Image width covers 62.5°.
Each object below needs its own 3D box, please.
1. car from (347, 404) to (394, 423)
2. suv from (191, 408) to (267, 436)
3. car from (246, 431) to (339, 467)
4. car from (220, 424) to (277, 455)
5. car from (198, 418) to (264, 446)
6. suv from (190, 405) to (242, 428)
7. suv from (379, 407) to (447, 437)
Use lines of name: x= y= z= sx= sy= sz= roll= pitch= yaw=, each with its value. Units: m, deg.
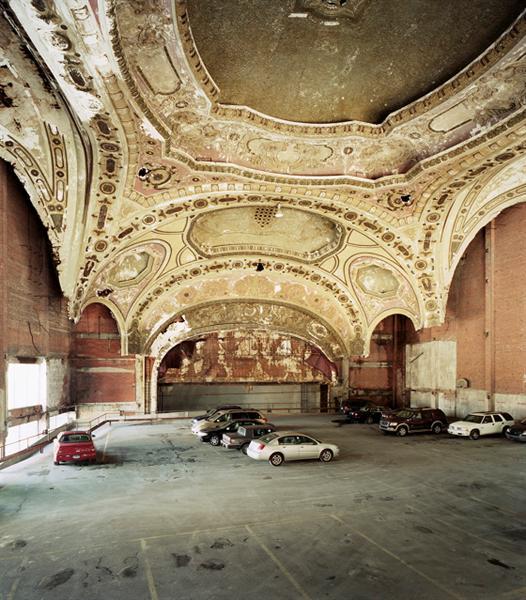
car: x=6.002 y=6.575 z=25.025 sx=2.104 sy=0.558 sz=1.058 roll=4 pitch=-10 yaw=-16
suv: x=-1.143 y=5.125 z=18.408 sx=3.488 sy=0.979 sz=1.524 roll=3 pitch=-5 yaw=-24
car: x=0.934 y=4.739 z=14.015 sx=2.662 sy=0.750 sz=1.108 roll=-1 pitch=-2 yaw=-14
car: x=-0.606 y=5.031 z=15.754 sx=2.109 sy=0.599 sz=0.868 roll=-4 pitch=4 yaw=-23
car: x=-1.202 y=5.249 z=17.266 sx=2.649 sy=0.722 sz=1.021 roll=2 pitch=-6 yaw=-16
suv: x=-2.189 y=5.795 z=20.693 sx=2.790 sy=0.843 sz=1.393 roll=2 pitch=-8 yaw=-21
suv: x=7.076 y=5.804 z=20.705 sx=2.605 sy=0.977 sz=1.465 roll=5 pitch=-11 yaw=-16
